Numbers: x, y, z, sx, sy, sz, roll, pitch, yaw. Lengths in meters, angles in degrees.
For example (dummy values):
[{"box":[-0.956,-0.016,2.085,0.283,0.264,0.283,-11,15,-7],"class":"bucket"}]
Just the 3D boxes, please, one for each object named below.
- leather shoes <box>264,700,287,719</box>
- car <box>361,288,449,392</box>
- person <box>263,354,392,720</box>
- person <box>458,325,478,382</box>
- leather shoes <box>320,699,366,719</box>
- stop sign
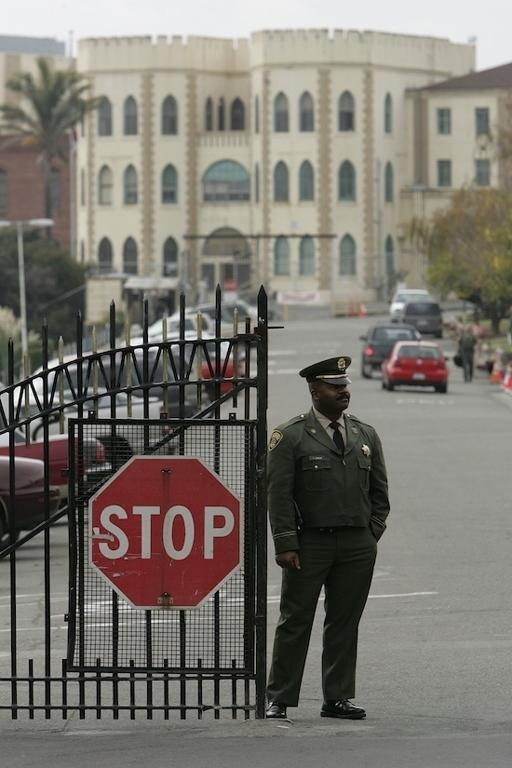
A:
[{"box":[0.111,1.862,12.401,0.126,0.085,0.162,0,5,-2],"class":"leather shoes"},{"box":[2.480,-0.731,36.528,0.904,1.061,2.391,-1,8,2],"class":"car"},{"box":[0.447,0.842,12.613,0.674,2.435,0.503,-3,26,-3],"class":"person"},{"box":[3.175,-0.410,32.313,0.274,0.744,0.947,0,5,6],"class":"person"},{"box":[0.501,1.883,12.560,0.238,0.149,0.115,-2,-1,8],"class":"leather shoes"},{"box":[-0.513,0.820,12.277,0.565,0.775,0.090,5,2,-9],"class":"stop sign"}]
